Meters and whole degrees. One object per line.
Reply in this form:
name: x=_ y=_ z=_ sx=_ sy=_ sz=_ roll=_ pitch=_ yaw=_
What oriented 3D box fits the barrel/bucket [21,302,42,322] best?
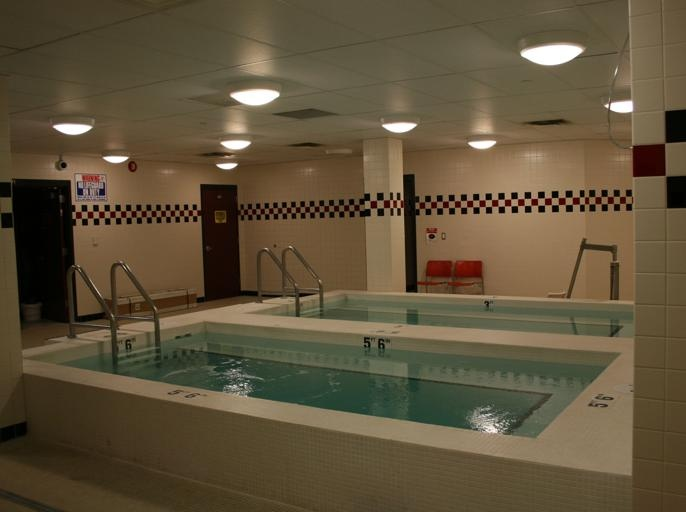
barrel/bucket: x=-6.192 y=1.127 z=10.034 sx=0.334 sy=0.291 sz=0.342 roll=0 pitch=-3 yaw=0

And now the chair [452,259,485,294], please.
chair: x=2.384 y=0.564 z=9.667 sx=0.579 sy=1.047 sz=0.705 roll=-1 pitch=-9 yaw=18

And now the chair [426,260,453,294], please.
chair: x=1.947 y=0.402 z=10.260 sx=0.556 sy=0.978 sz=0.611 roll=1 pitch=0 yaw=15
